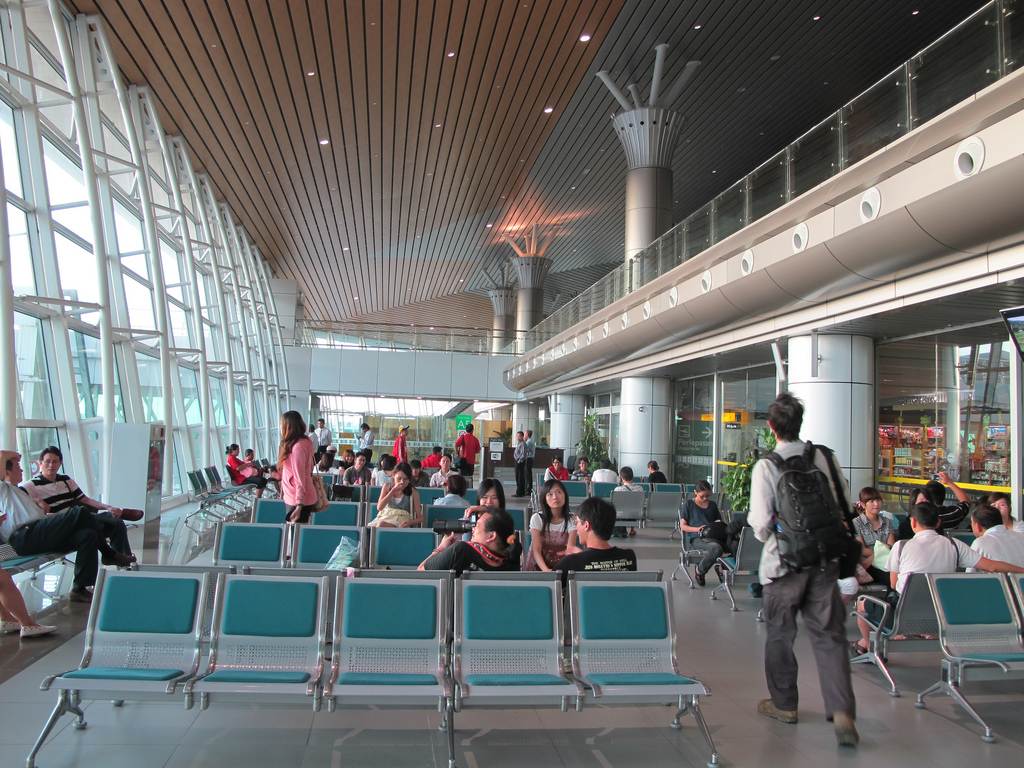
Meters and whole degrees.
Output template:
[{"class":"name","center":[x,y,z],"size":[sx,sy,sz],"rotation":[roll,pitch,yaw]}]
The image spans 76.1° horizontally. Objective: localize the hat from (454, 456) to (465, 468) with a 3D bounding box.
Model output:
[{"class":"hat","center":[-1.658,2.434,20.491],"size":[0.299,0.370,0.350],"rotation":[-2,-4,15]}]

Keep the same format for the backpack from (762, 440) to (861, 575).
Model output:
[{"class":"backpack","center":[2.022,0.818,4.482],"size":[0.508,0.762,0.450],"rotation":[-9,-4,2]}]

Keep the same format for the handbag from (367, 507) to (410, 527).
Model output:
[{"class":"handbag","center":[-1.421,1.546,7.625],"size":[0.422,0.214,0.590],"rotation":[1,-7,-3]}]

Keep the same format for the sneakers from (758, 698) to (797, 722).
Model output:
[{"class":"sneakers","center":[1.820,2.245,4.522],"size":[0.092,0.100,0.236],"rotation":[0,1,-18]}]

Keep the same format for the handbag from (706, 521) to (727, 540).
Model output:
[{"class":"handbag","center":[2.760,1.988,8.837],"size":[0.247,0.213,0.201],"rotation":[-2,-8,15]}]
